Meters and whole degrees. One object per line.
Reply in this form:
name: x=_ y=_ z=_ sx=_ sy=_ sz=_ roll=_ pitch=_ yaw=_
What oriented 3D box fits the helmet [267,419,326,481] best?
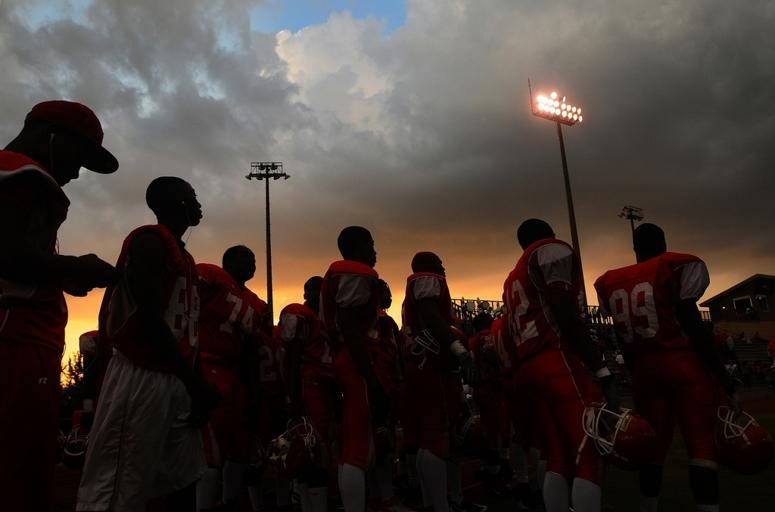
helmet: x=-0.880 y=1.971 z=5.602 sx=0.499 sy=0.585 sz=0.340 roll=1 pitch=-23 yaw=-6
